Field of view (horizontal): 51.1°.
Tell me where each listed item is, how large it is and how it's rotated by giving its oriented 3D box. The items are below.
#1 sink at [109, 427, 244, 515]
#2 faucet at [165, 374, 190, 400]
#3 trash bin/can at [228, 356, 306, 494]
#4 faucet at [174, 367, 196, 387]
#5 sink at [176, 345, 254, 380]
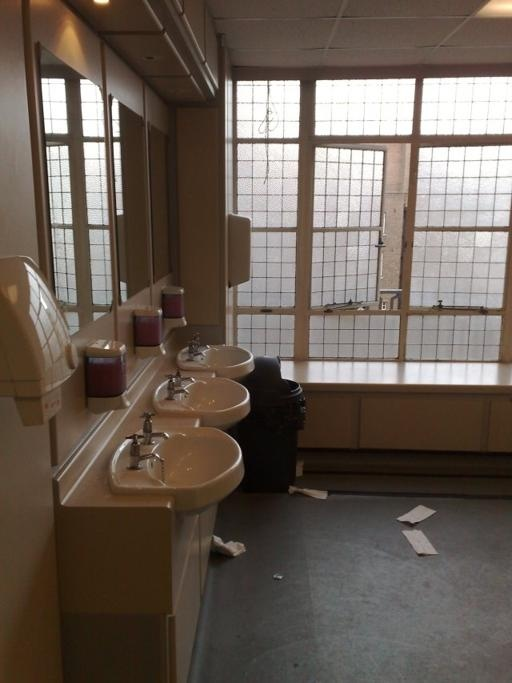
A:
[{"bbox_3d":[-0.246,0.436,1.797,0.397,0.222,0.594,0,9,-1],"label":"sink"},{"bbox_3d":[-0.352,0.200,2.472,0.097,0.090,0.278,0,10,-3],"label":"faucet"},{"bbox_3d":[0.105,0.534,3.965,0.664,1.058,0.763,-1,10,1],"label":"trash bin/can"},{"bbox_3d":[-0.359,0.175,2.586,0.065,0.086,0.111,1,0,22],"label":"faucet"},{"bbox_3d":[-0.236,0.117,3.095,0.240,0.106,0.277,3,18,7],"label":"sink"}]
